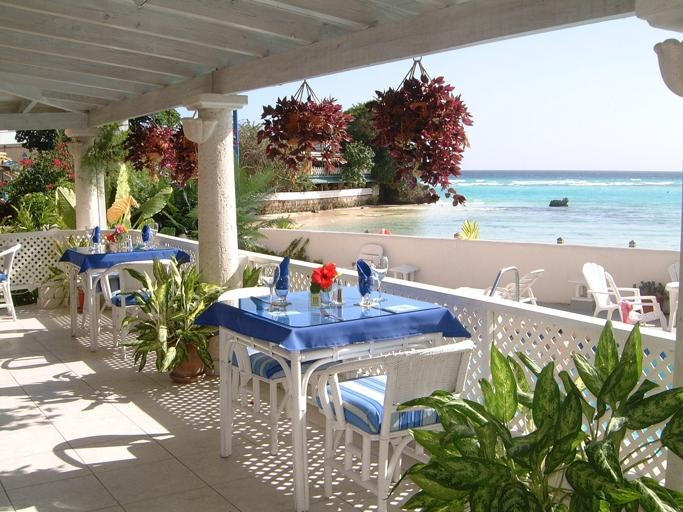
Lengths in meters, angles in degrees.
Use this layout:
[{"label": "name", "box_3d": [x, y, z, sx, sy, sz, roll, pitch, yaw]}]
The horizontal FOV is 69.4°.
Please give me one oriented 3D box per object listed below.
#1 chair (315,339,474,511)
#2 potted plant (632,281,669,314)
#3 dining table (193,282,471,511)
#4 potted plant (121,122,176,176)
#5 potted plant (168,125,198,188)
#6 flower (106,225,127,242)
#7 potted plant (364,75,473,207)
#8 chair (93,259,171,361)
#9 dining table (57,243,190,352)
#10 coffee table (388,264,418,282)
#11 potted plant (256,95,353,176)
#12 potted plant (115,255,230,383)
[{"label": "chair", "box_3d": [0.258, 0.895, 2.793, 0.819, 0.903, 0.492, 4, 10, 32]}, {"label": "potted plant", "box_3d": [5.618, 0.792, 9.134, 0.608, 0.668, 0.680, -4, 6, 25]}, {"label": "dining table", "box_3d": [-0.077, 0.472, 3.245, 1.427, 1.008, 1.418, -6, 10, -34]}, {"label": "potted plant", "box_3d": [-2.083, -1.206, 5.468, 0.718, 0.604, 0.334, 5, 10, 35]}, {"label": "potted plant", "box_3d": [-1.687, -1.105, 5.285, 0.223, 0.656, 0.604, -4, 9, -24]}, {"label": "flower", "box_3d": [-2.881, -0.298, 6.329, 0.216, 0.185, 0.314, -3, 8, -17]}, {"label": "potted plant", "box_3d": [0.422, -0.589, 2.804, 0.484, 0.603, 0.683, -3, -9, 0]}, {"label": "chair", "box_3d": [-2.293, 0.573, 5.410, 0.831, 1.028, 0.789, -8, 25, -28]}, {"label": "dining table", "box_3d": [-2.721, 0.204, 6.119, 1.344, 1.060, 1.377, -9, 24, -31]}, {"label": "coffee table", "box_3d": [1.446, 0.350, 11.756, 0.518, 0.516, 0.500, 17, 25, 38]}, {"label": "potted plant", "box_3d": [-0.198, -0.716, 3.208, 0.525, 0.370, 0.539, -3, 10, -41]}, {"label": "potted plant", "box_3d": [-1.627, 0.637, 5.314, 1.305, 1.263, 1.313, -9, -11, 41]}]
